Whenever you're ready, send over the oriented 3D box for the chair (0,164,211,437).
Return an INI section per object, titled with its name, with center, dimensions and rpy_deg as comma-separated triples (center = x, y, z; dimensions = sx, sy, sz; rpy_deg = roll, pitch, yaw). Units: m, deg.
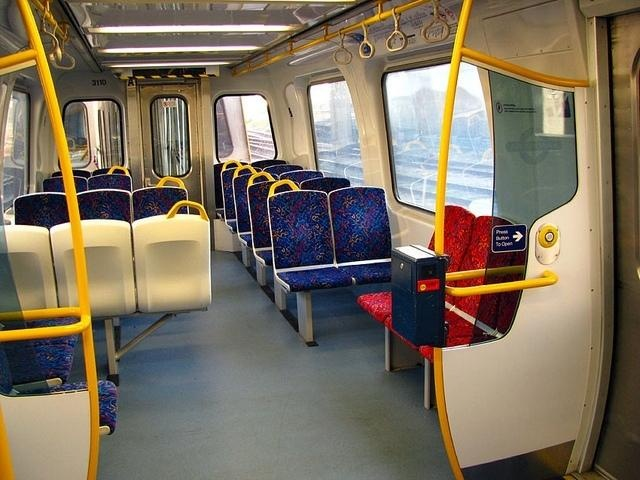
[chair]
center = -1.520, 0.382, 3.982
dimensions = 1.479, 1.804, 1.682
rpy_deg = -4, 10, -16
